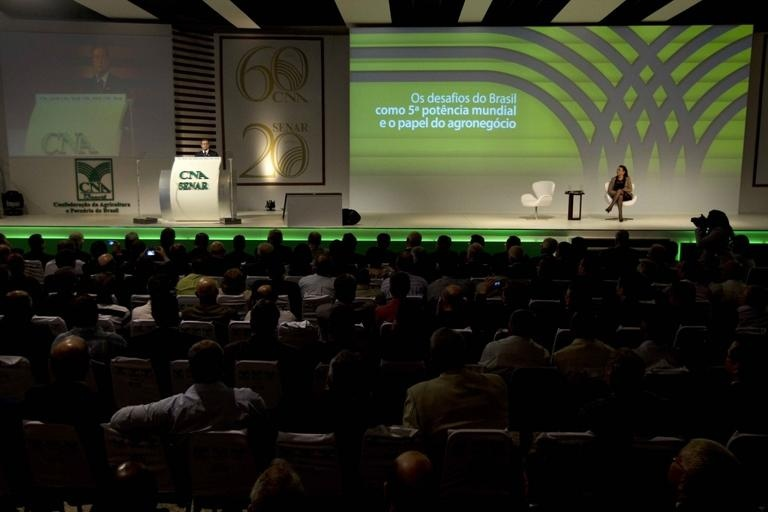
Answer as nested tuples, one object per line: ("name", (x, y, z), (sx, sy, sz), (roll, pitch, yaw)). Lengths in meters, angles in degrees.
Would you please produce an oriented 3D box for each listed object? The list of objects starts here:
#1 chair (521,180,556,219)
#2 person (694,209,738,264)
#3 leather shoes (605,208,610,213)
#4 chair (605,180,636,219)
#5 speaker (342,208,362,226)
("chair", (3.004, -1.094, 12.771), (0.669, 0.714, 0.683), (3, 6, 31))
("person", (4.626, -0.253, 9.130), (0.305, 0.286, 0.883), (-27, -2, 31))
("leather shoes", (4.392, -0.895, 12.872), (0.062, 0.076, 0.124), (19, -15, 37))
("chair", (4.397, -1.171, 12.274), (0.458, 1.043, 0.644), (0, 4, 33))
("speaker", (-0.591, -0.701, 11.540), (0.273, 0.258, 0.315), (-7, 13, -5))
